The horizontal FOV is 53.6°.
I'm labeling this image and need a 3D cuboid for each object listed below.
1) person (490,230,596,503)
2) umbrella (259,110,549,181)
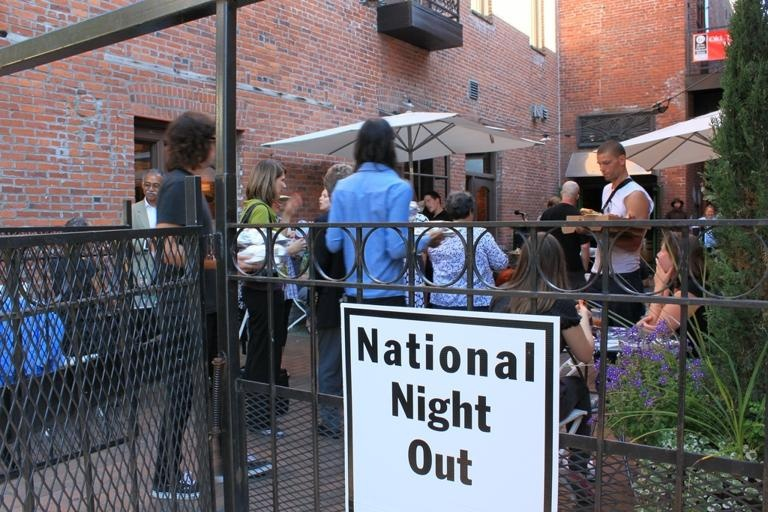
[{"bbox_3d":[0.810,0.531,3.821,0.488,1.319,1.494,1,2,15],"label":"person"},{"bbox_3d":[0.571,-1.422,9.013,1.858,0.595,1.800,-2,3,-30],"label":"umbrella"}]
